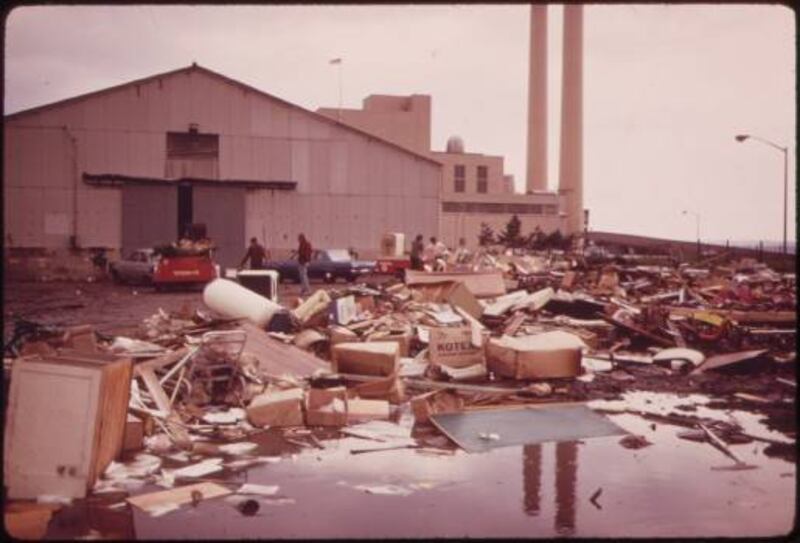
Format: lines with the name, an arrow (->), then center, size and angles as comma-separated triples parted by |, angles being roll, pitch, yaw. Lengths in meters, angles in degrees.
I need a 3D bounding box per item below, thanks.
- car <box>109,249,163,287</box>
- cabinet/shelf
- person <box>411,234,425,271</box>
car -> -8.234, -0.104, 23.661 | 1.938, 0.869, 1.160 | 9, 6, 43
cabinet/shelf -> -3.483, 1.630, 7.901 | 0.805, 1.320, 1.358 | 2, -5, 4
person -> 0.519, -0.629, 24.154 | 0.433, 1.058, 1.118 | 0, 1, 1
